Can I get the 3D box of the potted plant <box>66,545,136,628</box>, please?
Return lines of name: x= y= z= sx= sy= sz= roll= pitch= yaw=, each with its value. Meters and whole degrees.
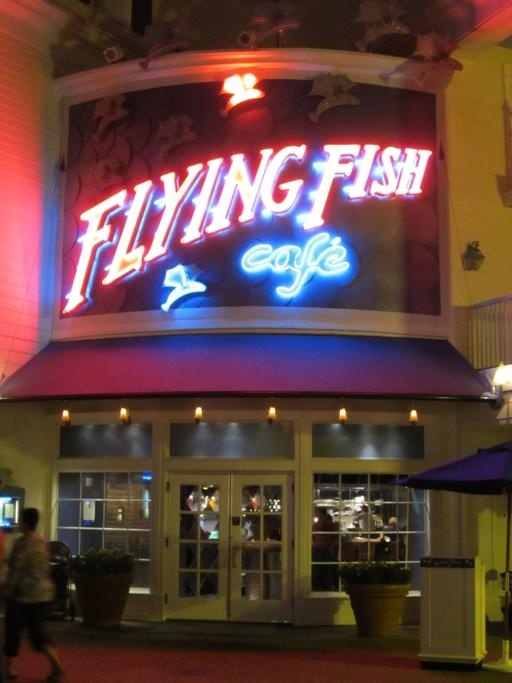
potted plant: x=-2.188 y=3.525 z=11.063 sx=1.005 sy=1.008 sz=1.021 roll=-15 pitch=-19 yaw=43

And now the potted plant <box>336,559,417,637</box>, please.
potted plant: x=1.618 y=3.521 z=10.560 sx=1.039 sy=0.942 sz=0.990 roll=12 pitch=-26 yaw=-31

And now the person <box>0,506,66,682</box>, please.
person: x=-1.925 y=2.219 z=6.702 sx=0.525 sy=1.489 sz=0.354 roll=2 pitch=-13 yaw=-13
